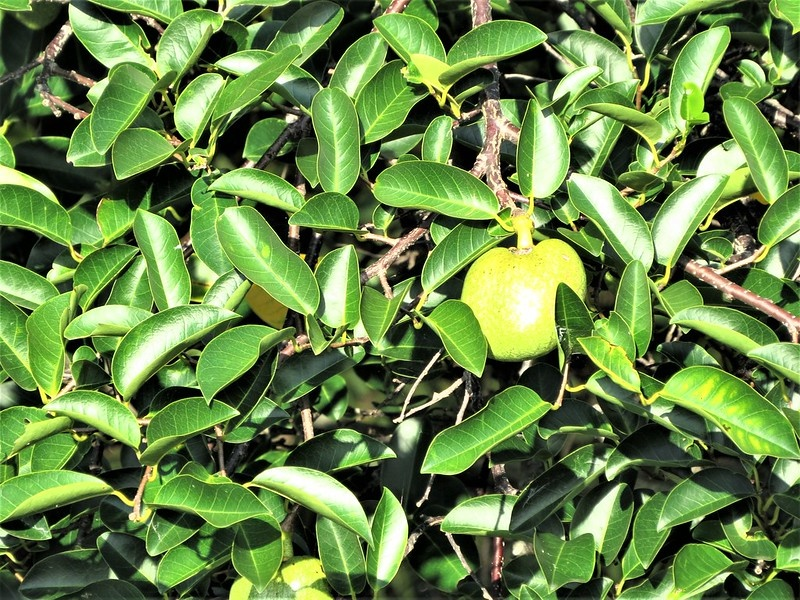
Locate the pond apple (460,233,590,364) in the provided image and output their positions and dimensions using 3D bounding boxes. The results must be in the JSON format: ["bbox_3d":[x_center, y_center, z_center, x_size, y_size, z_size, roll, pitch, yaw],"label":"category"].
[{"bbox_3d":[0.343,0.001,2.370,0.364,0.317,0.331,-12,18,-38],"label":"pond apple"}]
